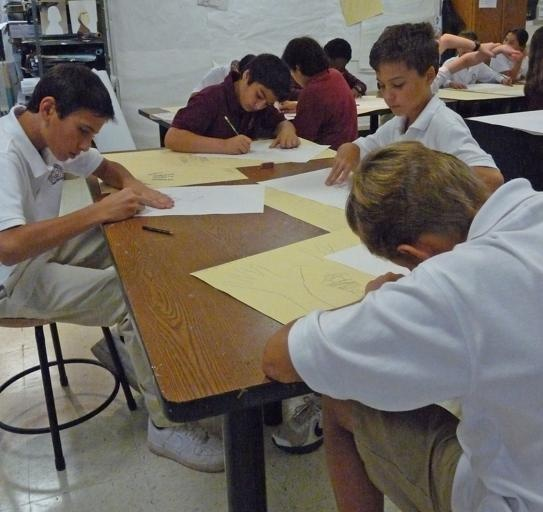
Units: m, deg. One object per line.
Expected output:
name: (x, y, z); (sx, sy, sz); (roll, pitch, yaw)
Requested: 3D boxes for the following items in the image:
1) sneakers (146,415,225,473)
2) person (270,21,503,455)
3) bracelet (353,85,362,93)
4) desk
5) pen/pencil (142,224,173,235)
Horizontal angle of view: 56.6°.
sneakers: (-0.244, 0.549, 1.520); (0.286, 0.112, 0.111); (10, 18, 18)
person: (0.338, -0.082, 1.610); (0.810, 1.278, 0.597); (-2, 1, -19)
bracelet: (0.693, -1.318, 4.019); (0.071, 0.022, 0.071); (22, 12, 30)
desk: (0.009, 0.123, 0.943); (0.479, 0.388, 0.806); (-9, 42, -13)
pen/pencil: (-0.276, -0.064, 1.223); (0.076, 0.010, 0.011); (12, 26, 29)
